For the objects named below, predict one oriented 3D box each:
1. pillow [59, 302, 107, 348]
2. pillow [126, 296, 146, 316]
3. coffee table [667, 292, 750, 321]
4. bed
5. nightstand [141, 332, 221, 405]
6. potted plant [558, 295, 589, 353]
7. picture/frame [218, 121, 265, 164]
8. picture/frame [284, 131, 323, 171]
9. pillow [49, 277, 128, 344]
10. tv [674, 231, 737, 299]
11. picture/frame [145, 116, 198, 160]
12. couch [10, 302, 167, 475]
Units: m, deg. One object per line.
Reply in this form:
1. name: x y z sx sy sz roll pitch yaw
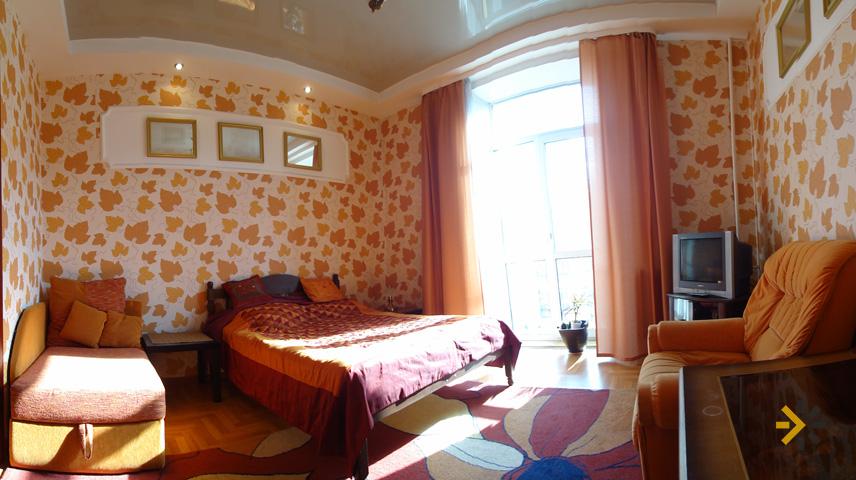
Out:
1. pillow: -3.904 0.971 6.392 0.503 0.477 0.211 23 -20 -13
2. pillow: -3.706 0.832 7.113 0.233 0.216 0.061 -19 15 -37
3. coffee table: 3.242 0.792 6.538 0.476 0.435 0.466 8 -11 -35
4. bed: -1.317 1.275 6.515 2.704 1.060 2.241 -3 0 42
5. nightstand: -3.032 1.496 6.762 0.961 0.538 0.678 8 -5 -44
6. potted plant: 2.009 1.205 7.766 0.404 0.671 0.393 -3 -8 -22
7. picture/frame: -2.598 -1.346 7.808 0.667 0.529 0.063 -3 2 -43
8. picture/frame: -1.852 -1.311 8.229 0.669 0.530 0.063 2 -5 -37
9. pillow: -4.094 0.836 6.609 0.827 0.739 0.239 5 -14 -32
10. tv: 3.402 0.288 6.701 0.456 0.756 0.728 1 -2 -30
11. picture/frame: -3.411 -1.345 7.402 0.673 0.568 0.063 0 -3 -26
12. couch: -3.754 1.688 6.126 1.205 1.168 1.984 4 -5 -32
